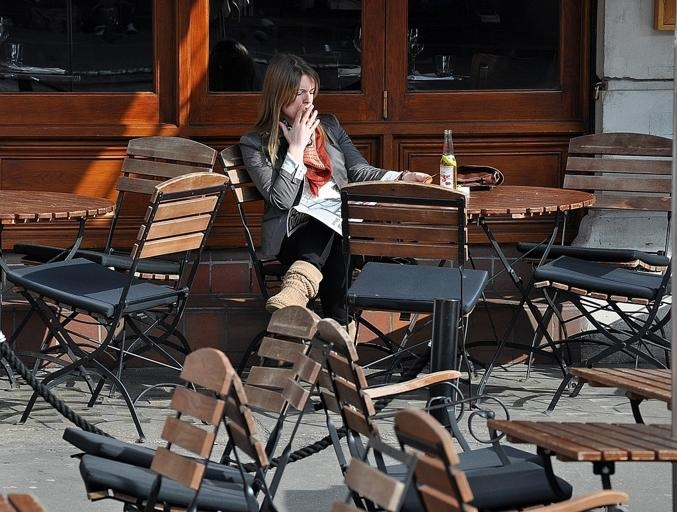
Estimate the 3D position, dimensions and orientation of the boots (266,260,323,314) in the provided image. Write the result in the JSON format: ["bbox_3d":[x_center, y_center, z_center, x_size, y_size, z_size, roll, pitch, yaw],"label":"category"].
[{"bbox_3d":[-0.253,0.179,4.578,0.231,0.292,0.482,18,6,13],"label":"boots"}]
